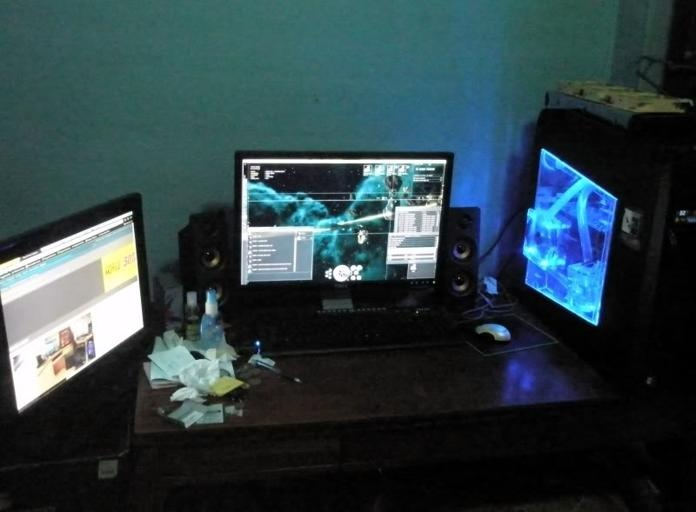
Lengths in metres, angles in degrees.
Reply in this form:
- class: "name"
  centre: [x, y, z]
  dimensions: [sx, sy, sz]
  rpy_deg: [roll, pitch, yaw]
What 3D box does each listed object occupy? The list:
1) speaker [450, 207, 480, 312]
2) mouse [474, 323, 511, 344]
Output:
- class: "speaker"
  centre: [0.366, 0.004, 1.845]
  dimensions: [0.100, 0.317, 0.059]
  rpy_deg: [1, 14, 3]
- class: "mouse"
  centre: [0.425, 0.216, 1.684]
  dimensions: [0.075, 0.023, 0.058]
  rpy_deg: [18, 23, 27]
